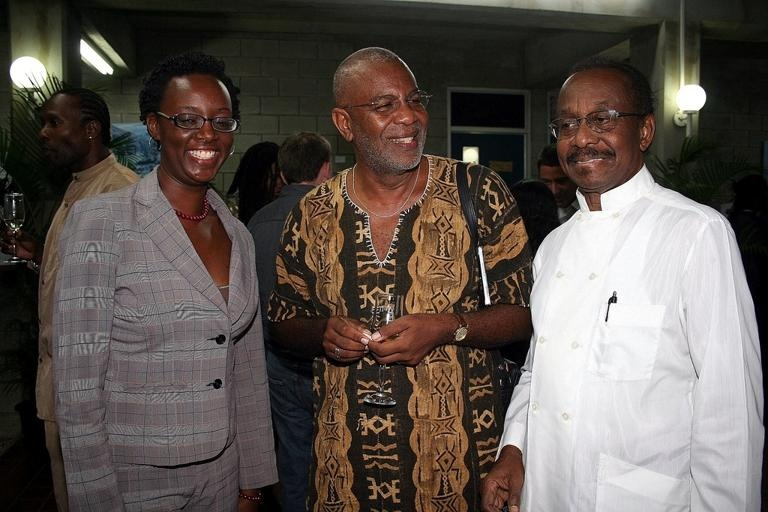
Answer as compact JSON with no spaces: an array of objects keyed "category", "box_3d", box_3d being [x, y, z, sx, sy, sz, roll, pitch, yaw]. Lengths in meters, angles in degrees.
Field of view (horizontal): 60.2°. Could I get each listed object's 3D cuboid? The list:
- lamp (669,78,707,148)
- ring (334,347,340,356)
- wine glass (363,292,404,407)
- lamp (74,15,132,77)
[{"category":"lamp","box_3d":[3.740,-1.724,8.056,0.286,0.605,0.315,3,-4,-22]},{"category":"ring","box_3d":[-0.198,0.403,2.795,0.024,0.035,0.032,1,-5,-1]},{"category":"wine glass","box_3d":[-0.011,0.403,2.824,0.161,0.480,0.167,0,6,3]},{"category":"lamp","box_3d":[-3.560,-2.594,8.370,0.578,0.185,0.849,-6,-5,-7]}]
